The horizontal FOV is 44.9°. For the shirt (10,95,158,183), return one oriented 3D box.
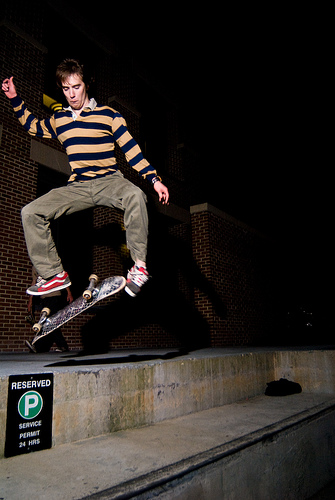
[{"bbox_3d":[-0.762,-1.026,3.834,1.391,0.888,0.493,-1,9,4],"label":"shirt"}]
